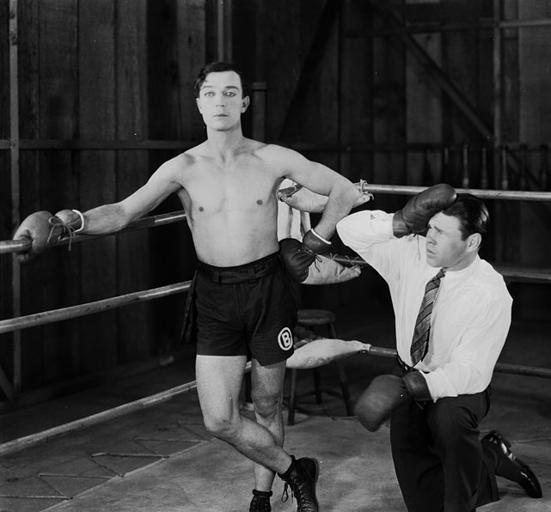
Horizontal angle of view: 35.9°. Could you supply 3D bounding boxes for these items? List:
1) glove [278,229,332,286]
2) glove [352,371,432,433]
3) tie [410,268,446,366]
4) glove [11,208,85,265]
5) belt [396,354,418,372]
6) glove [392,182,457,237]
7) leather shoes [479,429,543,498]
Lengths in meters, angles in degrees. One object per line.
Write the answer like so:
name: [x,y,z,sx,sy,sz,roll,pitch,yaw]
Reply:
glove: [0.095,-0.002,2.938,0.187,0.182,0.072,-28,8,7]
glove: [0.389,0.442,2.750,0.238,0.099,0.180,-22,38,-12]
tie: [0.499,0.214,2.826,0.068,0.392,0.054,21,-8,-24]
glove: [-0.735,-0.075,2.790,0.104,0.125,0.240,-1,19,34]
belt: [0.461,0.377,2.965,0.046,0.033,0.060,13,15,-33]
glove: [0.481,-0.159,2.799,0.198,0.079,0.147,-26,27,0]
leather shoes: [0.913,0.814,3.277,0.109,0.340,0.143,-43,7,37]
